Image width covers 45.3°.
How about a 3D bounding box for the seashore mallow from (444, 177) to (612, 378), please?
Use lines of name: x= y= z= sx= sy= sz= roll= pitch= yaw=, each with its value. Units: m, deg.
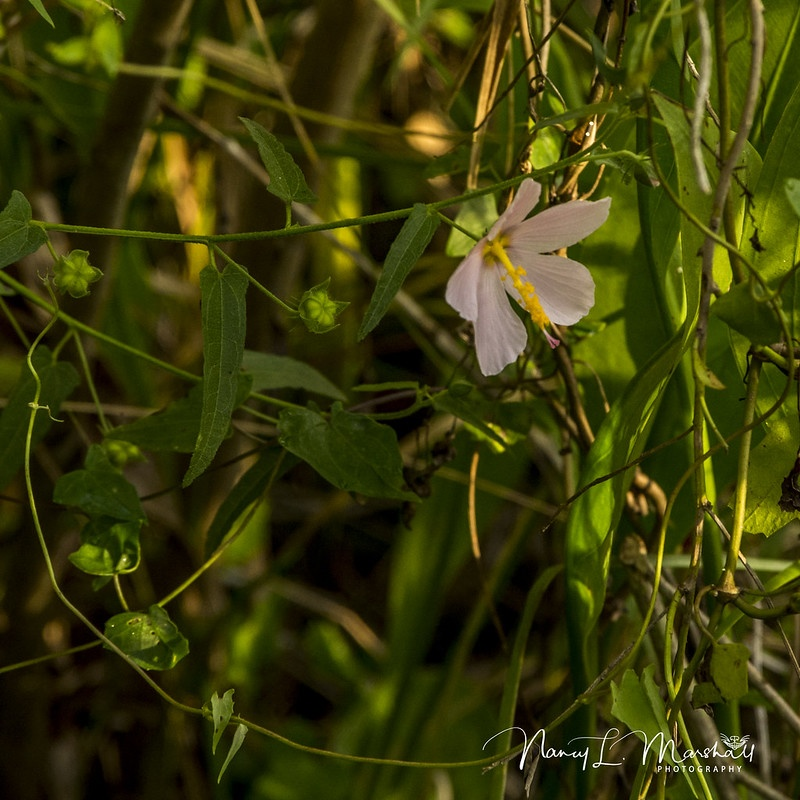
seashore mallow: x=0.072 y=-0.070 z=0.537 sx=0.065 sy=0.075 sz=0.099 roll=42 pitch=62 yaw=12
